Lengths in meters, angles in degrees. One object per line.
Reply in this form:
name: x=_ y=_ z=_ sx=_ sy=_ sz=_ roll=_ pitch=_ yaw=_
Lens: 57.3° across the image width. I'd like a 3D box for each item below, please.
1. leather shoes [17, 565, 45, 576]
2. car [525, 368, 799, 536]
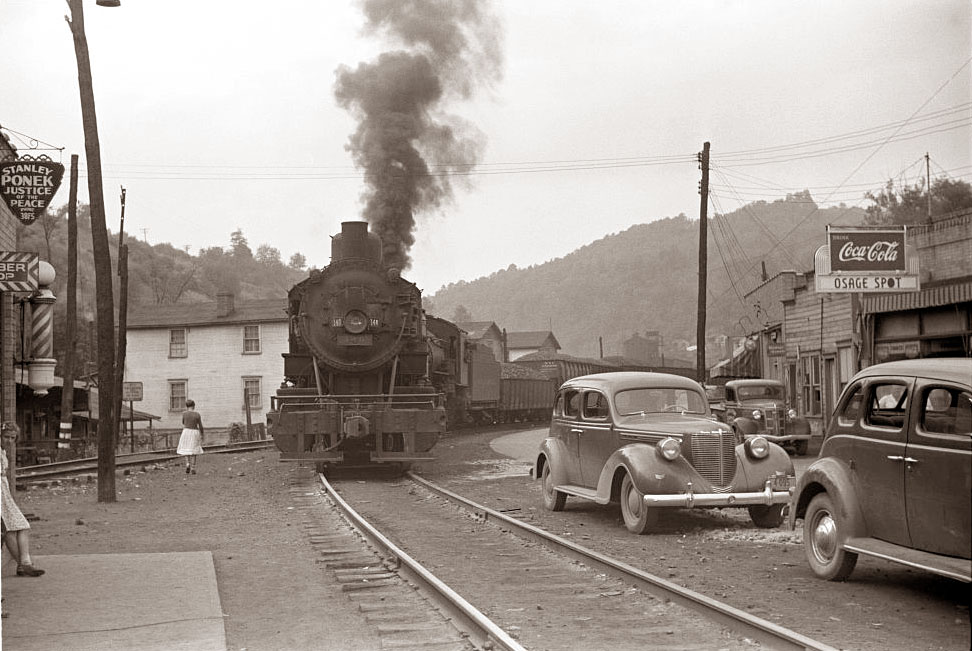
leather shoes: x=-5.502 y=2.948 z=10.734 sx=0.336 sy=0.137 sz=0.125 roll=2 pitch=-4 yaw=-9
car: x=2.660 y=1.952 z=14.322 sx=2.185 sy=2.447 sz=3.837 roll=3 pitch=-5 yaw=-36
